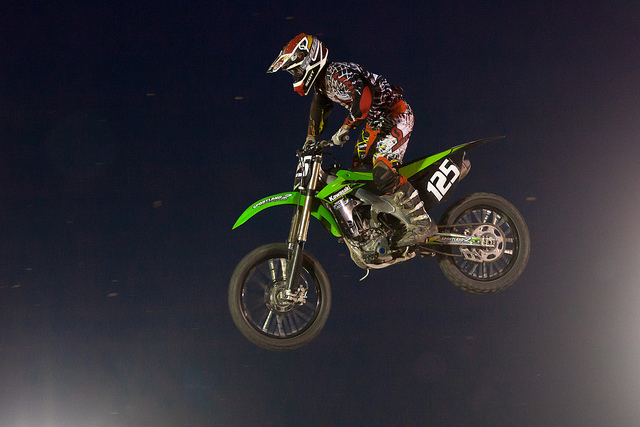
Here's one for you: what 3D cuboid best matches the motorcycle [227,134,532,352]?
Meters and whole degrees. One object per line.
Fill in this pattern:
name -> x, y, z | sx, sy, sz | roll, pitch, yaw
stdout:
motorcycle -> 0.350, 0.143, 4.994 | 2.726, 1.221, 1.758 | -14, -92, -22
